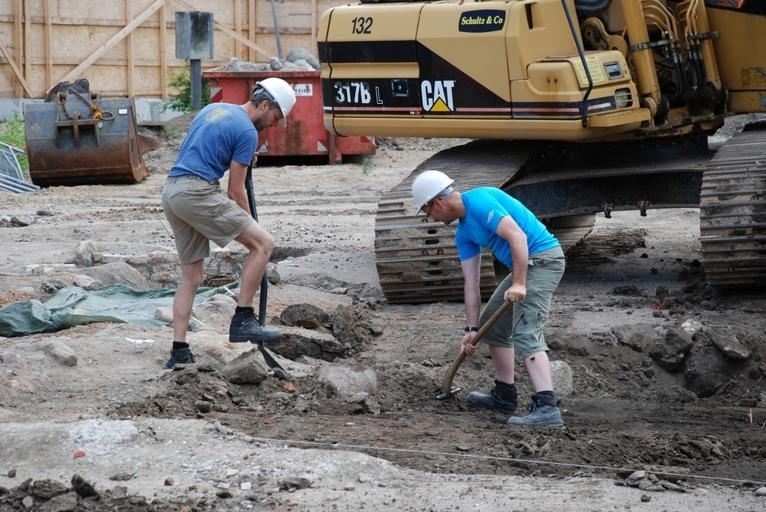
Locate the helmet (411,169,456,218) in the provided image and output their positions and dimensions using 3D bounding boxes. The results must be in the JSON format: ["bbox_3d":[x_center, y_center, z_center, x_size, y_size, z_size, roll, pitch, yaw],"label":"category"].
[{"bbox_3d":[0.364,-0.516,7.836,0.428,0.248,0.287,-29,11,8],"label":"helmet"}]

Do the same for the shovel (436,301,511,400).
[{"bbox_3d":[0.702,0.764,8.092,0.405,1.070,0.160,22,16,-43],"label":"shovel"}]

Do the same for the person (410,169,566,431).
[{"bbox_3d":[0.903,0.330,7.887,1.065,2.042,0.612,0,10,16],"label":"person"}]

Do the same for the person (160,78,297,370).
[{"bbox_3d":[-1.318,-0.288,8.210,1.204,2.377,0.654,-5,10,-17],"label":"person"}]

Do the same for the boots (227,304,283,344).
[{"bbox_3d":[-1.035,0.579,8.274,0.550,0.248,0.182,-2,6,25],"label":"boots"}]

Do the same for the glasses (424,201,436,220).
[{"bbox_3d":[0.366,-0.366,7.777,0.043,0.114,0.122,-13,-5,4],"label":"glasses"}]
